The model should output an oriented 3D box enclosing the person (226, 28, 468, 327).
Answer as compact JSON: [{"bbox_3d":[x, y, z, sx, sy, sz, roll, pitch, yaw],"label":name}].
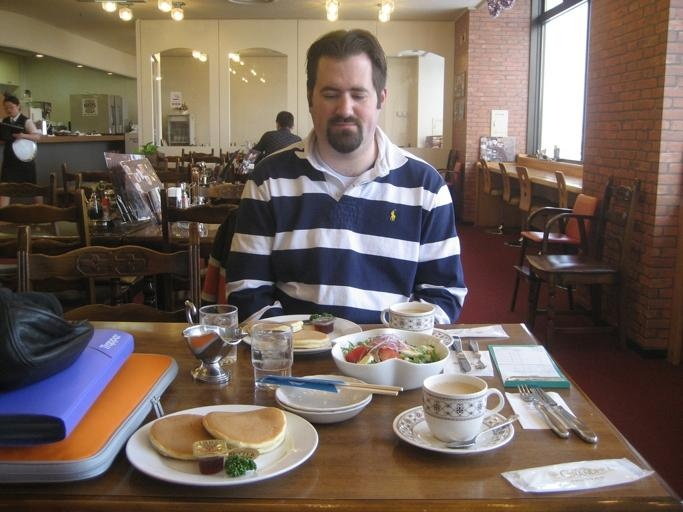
[{"bbox_3d":[0.001,-0.253,1.748,0.789,0.949,0.382,-1,13,5],"label":"person"}]

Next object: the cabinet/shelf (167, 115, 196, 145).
[{"bbox_3d":[-3.625,-2.851,12.086,0.607,0.627,0.419,-5,13,-15],"label":"cabinet/shelf"}]

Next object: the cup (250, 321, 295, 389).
[{"bbox_3d":[-0.144,0.230,1.197,0.115,0.129,0.122,0,2,0],"label":"cup"}]

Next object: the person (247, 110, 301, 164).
[{"bbox_3d":[-0.658,-1.156,5.757,0.384,0.685,0.436,4,15,-34],"label":"person"}]

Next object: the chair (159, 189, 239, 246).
[{"bbox_3d":[-0.822,-0.262,3.089,0.352,0.536,0.394,2,17,-4],"label":"chair"}]

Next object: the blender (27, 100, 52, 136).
[{"bbox_3d":[-5.821,-2.656,10.378,0.551,0.675,0.523,5,5,37],"label":"blender"}]

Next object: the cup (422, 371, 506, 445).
[{"bbox_3d":[0.216,0.265,0.939,0.161,0.091,0.115,1,-2,-2],"label":"cup"}]

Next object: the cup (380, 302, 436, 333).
[{"bbox_3d":[0.171,0.153,1.353,0.109,0.058,0.076,-1,8,-2],"label":"cup"}]
